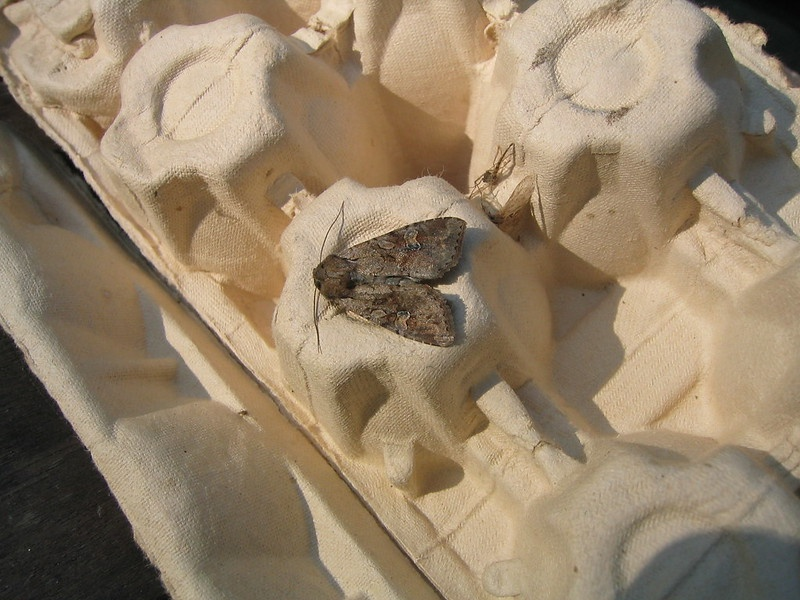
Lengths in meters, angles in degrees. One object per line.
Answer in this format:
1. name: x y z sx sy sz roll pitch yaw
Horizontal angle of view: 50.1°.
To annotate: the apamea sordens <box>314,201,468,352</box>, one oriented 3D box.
1. apamea sordens: -0.040 -0.088 2.837 0.485 0.062 0.437 7 74 4
